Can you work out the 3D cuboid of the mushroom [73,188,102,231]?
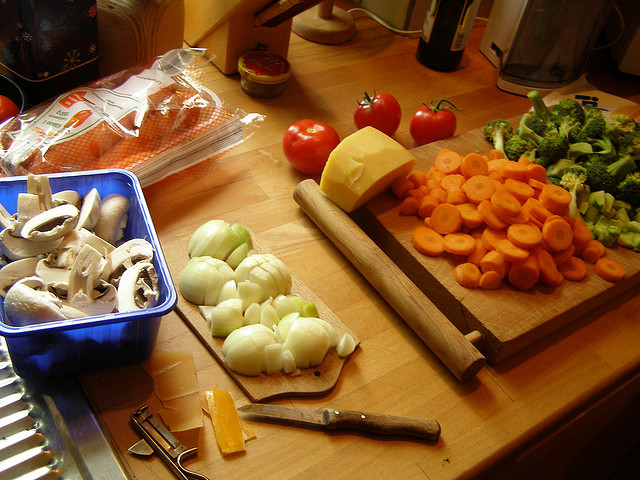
[{"bbox_3d":[-0.419,-0.056,0.875,0.018,0.055,0.065,18,65,-22],"label":"mushroom"}]

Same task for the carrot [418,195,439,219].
[{"bbox_3d":[0.244,-0.075,1.060,0.041,0.043,0.036,-3,35,9],"label":"carrot"}]

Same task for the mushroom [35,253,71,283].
[{"bbox_3d":[-0.446,0.049,0.802,0.051,0.015,0.053,-24,67,-45],"label":"mushroom"}]

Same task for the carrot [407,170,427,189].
[{"bbox_3d":[0.239,-0.139,1.157,0.037,0.041,0.046,-42,38,-24],"label":"carrot"}]

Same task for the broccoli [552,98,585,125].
[{"bbox_3d":[0.667,-0.354,1.297,0.068,0.028,0.083,-22,57,-8],"label":"broccoli"}]

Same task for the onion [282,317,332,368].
[{"bbox_3d":[-0.033,0.198,0.888,0.082,0.075,0.098,-11,55,-15],"label":"onion"}]

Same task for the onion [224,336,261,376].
[{"bbox_3d":[-0.132,0.208,0.838,0.051,0.042,0.069,19,88,-1],"label":"onion"}]

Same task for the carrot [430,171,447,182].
[{"bbox_3d":[0.279,-0.152,1.124,0.025,0.007,0.024,11,49,24],"label":"carrot"}]

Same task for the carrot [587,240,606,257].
[{"bbox_3d":[0.613,0.019,1.074,0.035,0.009,0.036,31,50,17],"label":"carrot"}]

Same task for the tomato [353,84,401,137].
[{"bbox_3d":[0.168,-0.364,1.366,0.128,0.129,0.146,-12,77,15],"label":"tomato"}]

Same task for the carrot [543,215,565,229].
[{"bbox_3d":[0.494,-0.039,1.019,0.026,0.006,0.027,11,48,16],"label":"carrot"}]

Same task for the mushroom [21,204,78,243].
[{"bbox_3d":[-0.455,-0.029,0.816,0.067,0.026,0.058,-24,43,-9],"label":"mushroom"}]

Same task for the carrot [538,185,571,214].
[{"bbox_3d":[0.512,-0.093,1.049,0.059,0.033,0.062,15,49,11],"label":"carrot"}]

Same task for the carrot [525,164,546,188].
[{"bbox_3d":[0.492,-0.146,1.095,0.044,0.045,0.046,1,61,-8],"label":"carrot"}]

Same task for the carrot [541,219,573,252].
[{"bbox_3d":[0.497,-0.008,1.004,0.062,0.015,0.065,-1,85,-17],"label":"carrot"}]

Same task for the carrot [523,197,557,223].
[{"bbox_3d":[0.474,-0.066,1.038,0.050,0.014,0.052,31,20,-2],"label":"carrot"}]

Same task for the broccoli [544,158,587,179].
[{"bbox_3d":[0.596,-0.181,1.193,0.054,0.020,0.055,-11,52,21],"label":"broccoli"}]

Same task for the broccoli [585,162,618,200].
[{"bbox_3d":[0.672,-0.147,1.167,0.073,0.038,0.062,42,41,-4],"label":"broccoli"}]

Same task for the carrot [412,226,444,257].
[{"bbox_3d":[0.230,0.002,1.021,0.059,0.016,0.060,-17,57,-31],"label":"carrot"}]

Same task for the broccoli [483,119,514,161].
[{"bbox_3d":[0.481,-0.294,1.328,0.070,0.062,0.123,13,56,-41],"label":"broccoli"}]

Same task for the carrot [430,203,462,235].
[{"bbox_3d":[0.272,-0.045,1.029,0.060,0.064,0.016,7,8,19],"label":"carrot"}]

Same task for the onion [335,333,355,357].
[{"bbox_3d":[0.047,0.200,0.895,0.028,0.015,0.043,22,79,10],"label":"onion"}]

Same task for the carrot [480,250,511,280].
[{"bbox_3d":[0.368,0.044,0.993,0.044,0.036,0.038,24,21,-34],"label":"carrot"}]

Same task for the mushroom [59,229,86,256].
[{"bbox_3d":[-0.424,0.001,0.835,0.044,0.012,0.043,41,58,16],"label":"mushroom"}]

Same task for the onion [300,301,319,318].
[{"bbox_3d":[-0.019,0.135,0.911,0.026,0.026,0.027,-13,30,42],"label":"onion"}]

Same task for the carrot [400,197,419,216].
[{"bbox_3d":[0.208,-0.077,1.113,0.035,0.037,0.036,19,36,1],"label":"carrot"}]

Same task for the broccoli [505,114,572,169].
[{"bbox_3d":[0.550,-0.242,1.235,0.141,0.074,0.111,40,92,14],"label":"broccoli"}]

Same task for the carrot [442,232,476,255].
[{"bbox_3d":[0.301,0.008,1.008,0.048,0.013,0.049,24,52,29],"label":"carrot"}]

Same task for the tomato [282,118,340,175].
[{"bbox_3d":[-0.021,-0.227,1.278,0.130,0.120,0.137,-18,50,-32],"label":"tomato"}]

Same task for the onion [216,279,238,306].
[{"bbox_3d":[-0.175,0.100,0.911,0.036,0.043,0.042,-16,48,-11],"label":"onion"}]

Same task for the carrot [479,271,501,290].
[{"bbox_3d":[0.349,0.082,0.978,0.045,0.038,0.018,3,46,-7],"label":"carrot"}]

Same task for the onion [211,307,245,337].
[{"bbox_3d":[-0.167,0.151,0.876,0.037,0.053,0.049,-8,95,-4],"label":"onion"}]

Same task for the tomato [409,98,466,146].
[{"bbox_3d":[0.318,-0.332,1.361,0.125,0.110,0.138,-2,94,-16],"label":"tomato"}]

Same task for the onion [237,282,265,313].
[{"bbox_3d":[-0.128,0.097,0.894,0.044,0.034,0.054,-16,40,-22],"label":"onion"}]

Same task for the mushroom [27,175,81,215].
[{"bbox_3d":[-0.469,-0.083,0.861,0.074,0.066,0.053,-24,52,-38],"label":"mushroom"}]

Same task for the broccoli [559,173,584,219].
[{"bbox_3d":[0.581,-0.100,1.104,0.047,0.048,0.101,36,39,-6],"label":"broccoli"}]

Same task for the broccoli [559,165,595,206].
[{"bbox_3d":[0.611,-0.125,1.148,0.076,0.042,0.092,-15,93,-14],"label":"broccoli"}]

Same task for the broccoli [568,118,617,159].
[{"bbox_3d":[0.697,-0.263,1.215,0.114,0.065,0.091,14,74,2],"label":"broccoli"}]

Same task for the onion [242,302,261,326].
[{"bbox_3d":[-0.124,0.138,0.882,0.024,0.015,0.044,29,90,-5],"label":"onion"}]

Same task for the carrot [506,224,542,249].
[{"bbox_3d":[0.423,-0.009,0.995,0.067,0.020,0.053,6,48,-6],"label":"carrot"}]

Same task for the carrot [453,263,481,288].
[{"bbox_3d":[0.305,0.073,0.986,0.055,0.023,0.045,3,48,-8],"label":"carrot"}]

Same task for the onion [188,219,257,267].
[{"bbox_3d":[-0.197,0.004,0.978,0.108,0.056,0.099,20,39,7],"label":"onion"}]

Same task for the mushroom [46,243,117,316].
[{"bbox_3d":[-0.386,0.084,0.793,0.090,0.049,0.129,4,68,-19],"label":"mushroom"}]

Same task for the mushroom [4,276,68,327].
[{"bbox_3d":[-0.422,0.092,0.731,0.090,0.037,0.072,28,41,-16],"label":"mushroom"}]

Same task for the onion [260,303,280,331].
[{"bbox_3d":[-0.093,0.142,0.884,0.032,0.045,0.015,-11,7,-31],"label":"onion"}]

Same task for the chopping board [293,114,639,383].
[{"bbox_3d":[0.224,-0.037,0.915,0.565,0.077,0.433,-26,59,-31],"label":"chopping board"}]

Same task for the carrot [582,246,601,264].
[{"bbox_3d":[0.597,0.033,1.064,0.034,0.038,0.036,-26,54,20],"label":"carrot"}]
